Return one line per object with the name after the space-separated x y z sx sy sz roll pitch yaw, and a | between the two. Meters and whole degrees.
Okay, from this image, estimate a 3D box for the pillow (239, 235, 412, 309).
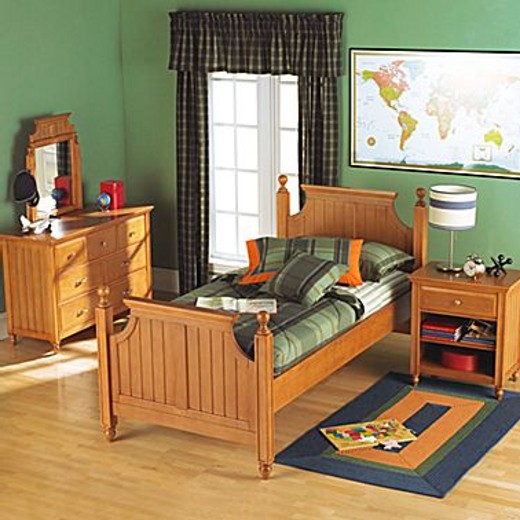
0.481 0.010 4.361 0.809 0.197 0.751 5 13 18 | pillow

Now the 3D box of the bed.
-0.103 0.147 4.242 1.578 1.546 2.685 8 16 29 | bed
